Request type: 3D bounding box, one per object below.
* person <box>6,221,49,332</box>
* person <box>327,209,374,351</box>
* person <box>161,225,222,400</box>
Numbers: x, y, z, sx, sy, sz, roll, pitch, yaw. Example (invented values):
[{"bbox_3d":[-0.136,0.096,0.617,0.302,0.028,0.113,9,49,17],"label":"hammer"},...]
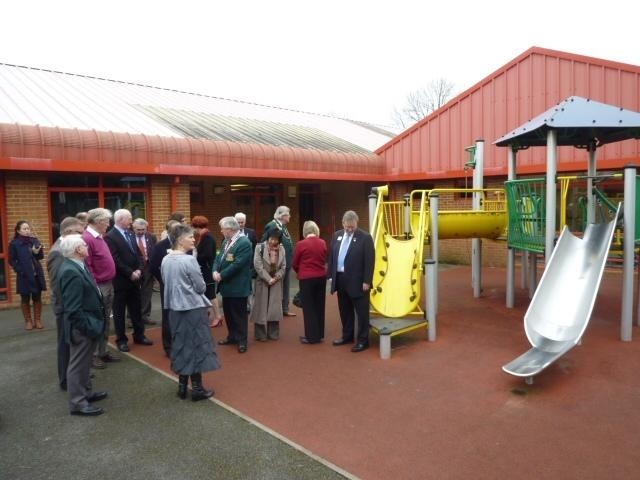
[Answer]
[{"bbox_3d":[-5.173,0.593,10.286,0.630,1.787,0.525,7,15,36],"label":"person"},{"bbox_3d":[0.530,0.604,9.119,0.579,2.064,0.800,-11,15,-38],"label":"person"},{"bbox_3d":[-1.677,0.898,7.513,0.589,2.198,0.686,-5,12,-19],"label":"person"}]
